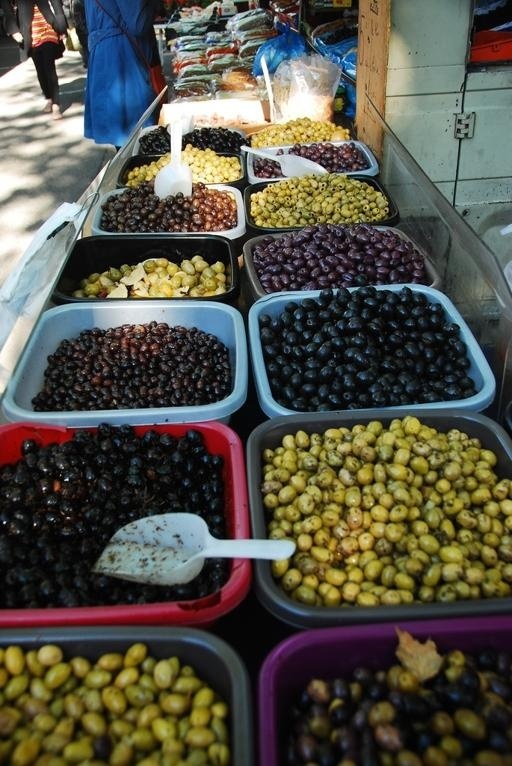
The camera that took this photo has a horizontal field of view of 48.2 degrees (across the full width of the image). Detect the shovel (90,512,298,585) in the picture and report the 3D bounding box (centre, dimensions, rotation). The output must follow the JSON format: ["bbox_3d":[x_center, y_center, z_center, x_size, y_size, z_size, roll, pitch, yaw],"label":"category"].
[{"bbox_3d":[-0.145,0.394,1.347,0.385,0.054,0.191,-3,28,9],"label":"shovel"}]

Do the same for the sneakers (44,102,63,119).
[{"bbox_3d":[-2.707,-3.628,7.612,0.133,0.131,0.358,-24,74,-14],"label":"sneakers"}]
